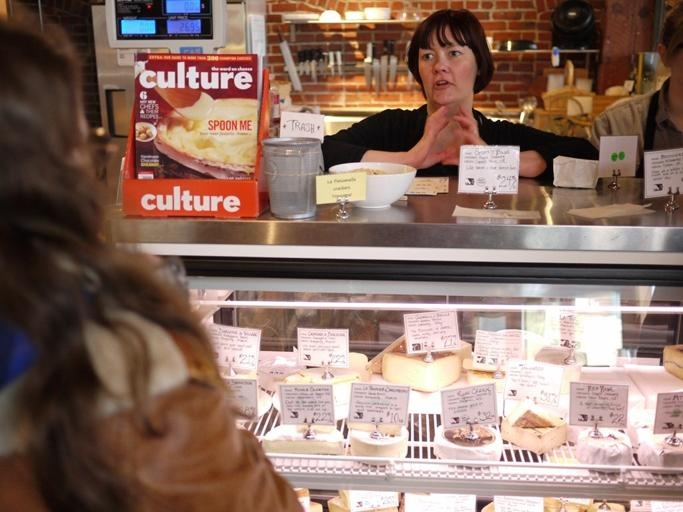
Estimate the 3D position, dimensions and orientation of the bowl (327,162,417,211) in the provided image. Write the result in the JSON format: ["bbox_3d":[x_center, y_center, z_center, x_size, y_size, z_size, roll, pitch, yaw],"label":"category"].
[{"bbox_3d":[0.085,-0.196,1.588,0.178,0.074,0.174,-3,18,1],"label":"bowl"}]

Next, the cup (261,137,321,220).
[{"bbox_3d":[-0.097,-0.196,1.440,0.183,0.191,0.195,0,5,0],"label":"cup"}]

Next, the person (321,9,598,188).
[{"bbox_3d":[0.494,-0.685,2.589,1.129,0.717,0.714,4,8,14],"label":"person"}]
